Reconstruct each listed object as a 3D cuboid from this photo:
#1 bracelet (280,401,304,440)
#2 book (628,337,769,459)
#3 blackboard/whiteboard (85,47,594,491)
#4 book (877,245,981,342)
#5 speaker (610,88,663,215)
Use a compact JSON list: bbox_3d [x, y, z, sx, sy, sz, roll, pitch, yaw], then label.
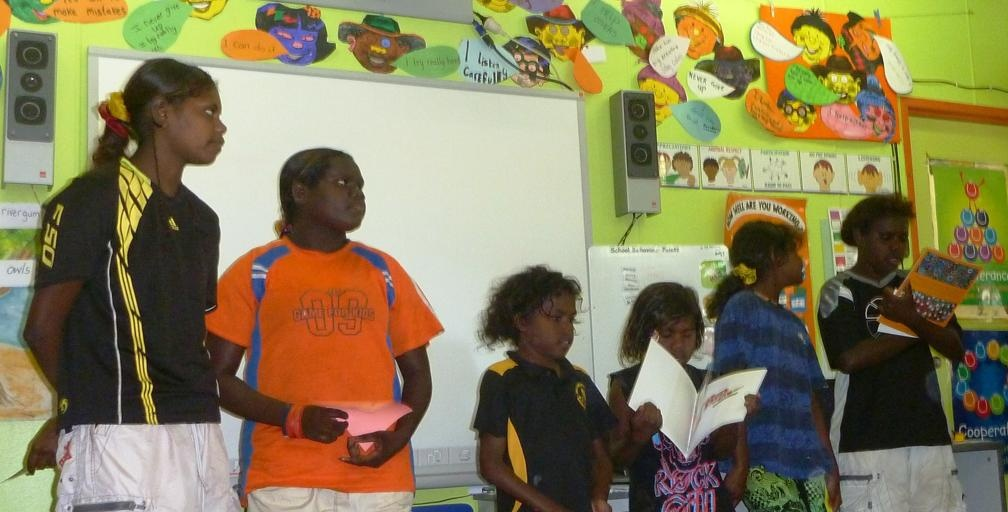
[{"bbox_3d":[-1.059,0.830,4.541,0.133,0.127,0.150,2,-43,-41],"label":"bracelet"},{"bbox_3d":[0.987,0.754,4.815,0.968,0.563,0.237,16,-2,-3],"label":"book"},{"bbox_3d":[-0.970,0.117,4.924,3.322,2.351,0.123,0,-8,-20],"label":"blackboard/whiteboard"},{"bbox_3d":[2.527,0.215,5.485,0.469,0.600,0.184,33,1,-1],"label":"book"},{"bbox_3d":[0.870,-0.682,5.992,0.332,0.826,0.150,1,-4,0],"label":"speaker"}]
